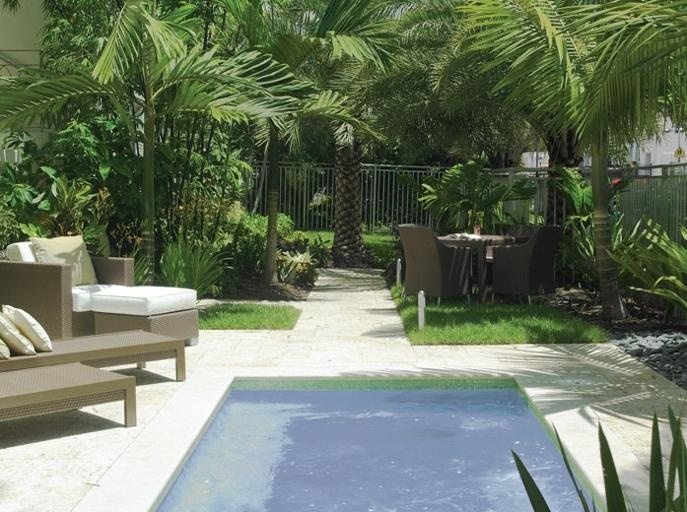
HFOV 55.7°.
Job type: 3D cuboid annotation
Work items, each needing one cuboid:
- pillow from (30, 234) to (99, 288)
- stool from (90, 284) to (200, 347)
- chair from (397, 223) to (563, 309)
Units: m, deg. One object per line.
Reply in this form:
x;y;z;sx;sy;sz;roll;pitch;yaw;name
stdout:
-3.025;0.072;6.996;0.275;0.560;0.557;-7;-5;37;pillow
-1.991;0.573;6.827;0.680;0.507;0.717;0;0;36;stool
1.921;0.087;9.553;1.811;1.058;1.184;-2;4;-3;chair
